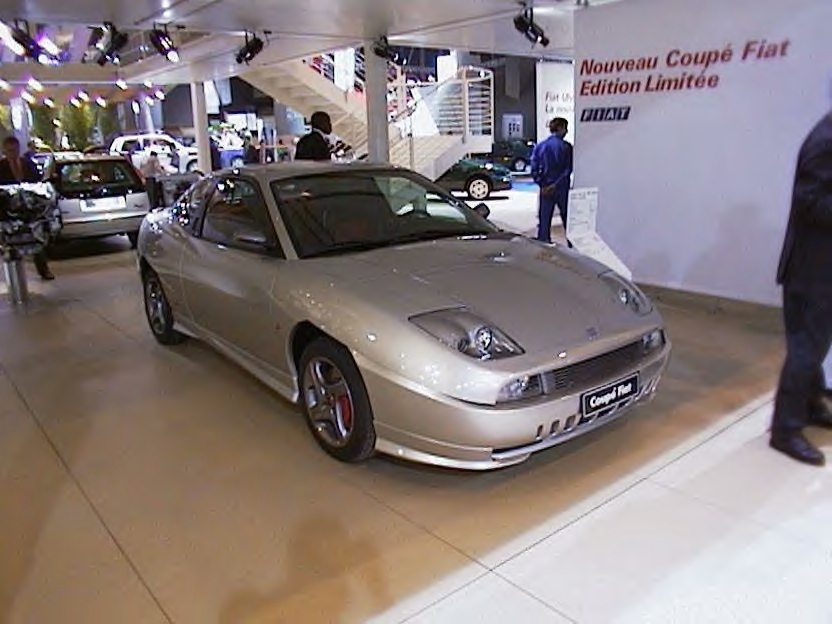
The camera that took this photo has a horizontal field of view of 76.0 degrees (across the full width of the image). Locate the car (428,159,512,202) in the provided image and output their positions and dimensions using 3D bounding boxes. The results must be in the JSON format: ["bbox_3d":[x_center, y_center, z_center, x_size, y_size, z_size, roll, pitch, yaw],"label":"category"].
[{"bbox_3d":[1.589,-3.881,15.205,2.202,0.996,1.512,-2,34,0],"label":"car"}]

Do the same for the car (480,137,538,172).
[{"bbox_3d":[3.884,-6.350,21.242,2.860,1.025,1.950,5,42,10],"label":"car"}]

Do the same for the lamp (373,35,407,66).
[{"bbox_3d":[-0.507,-4.712,9.567,0.391,0.404,1.015,0,22,8],"label":"lamp"}]

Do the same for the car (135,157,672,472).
[{"bbox_3d":[-0.203,-0.097,3.605,3.469,1.595,1.510,12,25,32],"label":"car"}]

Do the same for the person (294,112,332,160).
[{"bbox_3d":[-1.435,-2.442,7.349,0.481,0.578,0.960,-6,21,-10],"label":"person"}]
